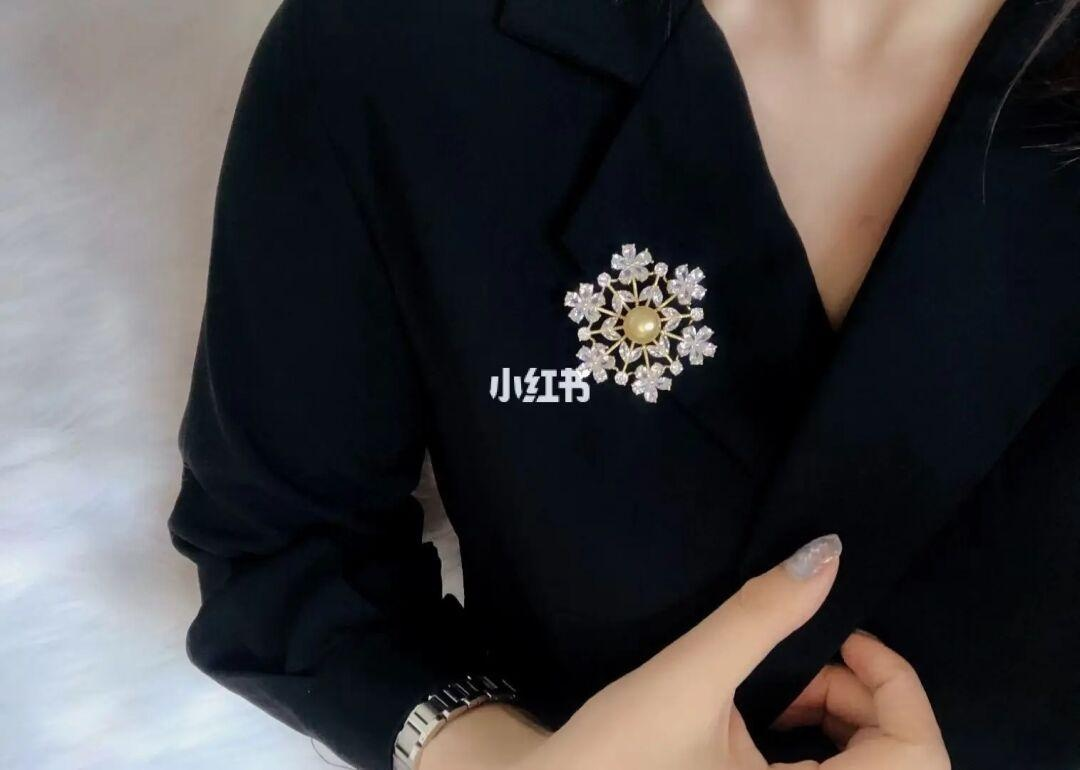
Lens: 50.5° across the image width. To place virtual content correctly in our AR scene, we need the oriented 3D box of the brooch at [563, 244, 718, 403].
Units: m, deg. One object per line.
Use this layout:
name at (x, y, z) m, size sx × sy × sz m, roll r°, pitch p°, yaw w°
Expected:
brooch at (0.103, -0.064, 1.207) m, size 0.141 × 0.166 × 0.054 m, roll 16°, pitch 5°, yaw -6°
